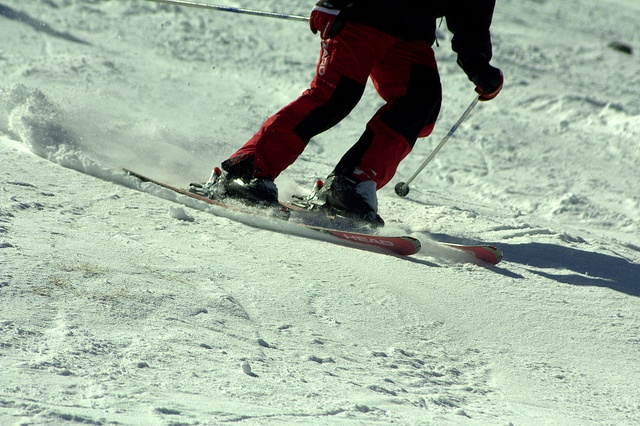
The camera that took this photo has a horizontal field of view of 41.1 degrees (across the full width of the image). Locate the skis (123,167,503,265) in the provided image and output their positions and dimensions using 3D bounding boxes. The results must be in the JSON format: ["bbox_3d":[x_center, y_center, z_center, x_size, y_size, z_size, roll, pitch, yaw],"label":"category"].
[{"bbox_3d":[-0.141,0.035,6.699,2.935,0.117,0.285,12,14,3],"label":"skis"}]
